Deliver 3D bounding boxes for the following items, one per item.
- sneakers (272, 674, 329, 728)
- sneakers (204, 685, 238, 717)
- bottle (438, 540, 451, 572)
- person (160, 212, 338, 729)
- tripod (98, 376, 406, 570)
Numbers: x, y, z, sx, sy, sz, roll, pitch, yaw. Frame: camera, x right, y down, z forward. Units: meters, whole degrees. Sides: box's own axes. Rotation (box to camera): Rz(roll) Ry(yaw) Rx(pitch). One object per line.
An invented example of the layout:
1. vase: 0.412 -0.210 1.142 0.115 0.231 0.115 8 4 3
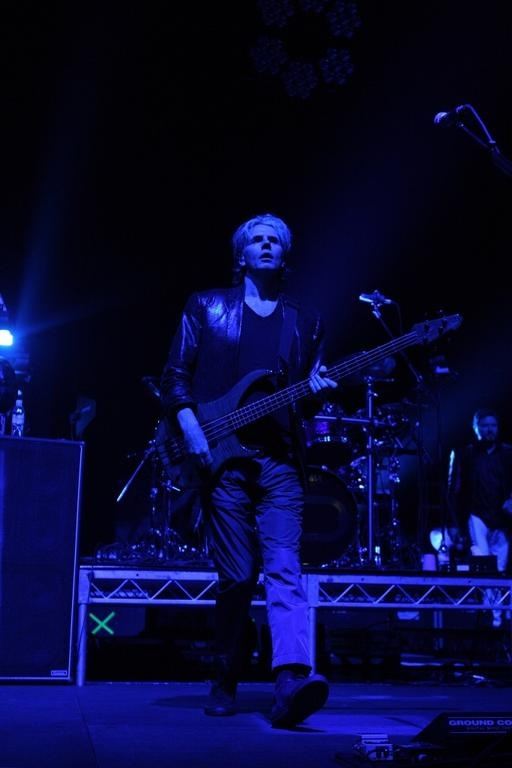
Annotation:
1. sneakers: 0.132 1.020 2.692 0.146 0.185 0.337 1 -13 -8
2. sneakers: -0.132 1.145 3.042 0.111 0.099 0.152 0 -13 -5
3. bottle: 1.418 1.297 6.386 0.093 0.232 0.756 -3 -14 11
4. person: 0.050 0.228 3.167 0.750 1.952 0.560 -10 -14 40
5. tripod: 0.000 0.892 6.885 1.736 1.407 1.810 19 -26 -40
